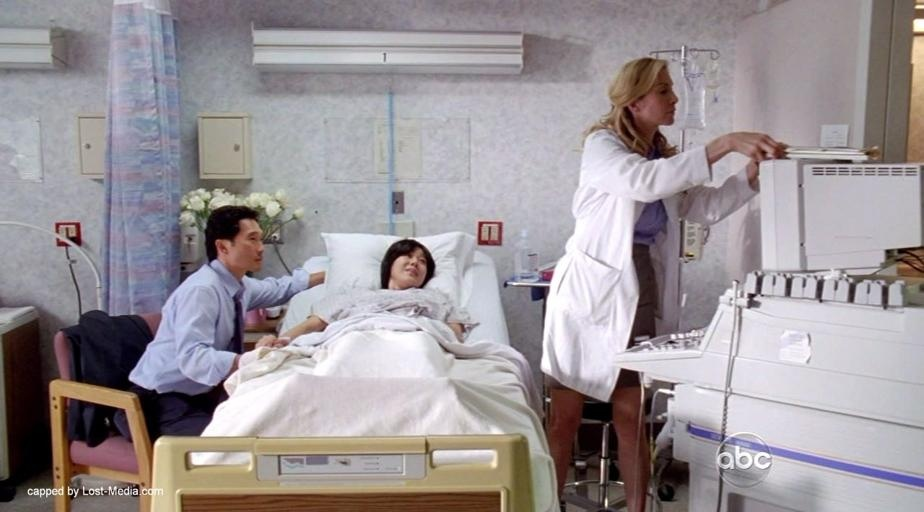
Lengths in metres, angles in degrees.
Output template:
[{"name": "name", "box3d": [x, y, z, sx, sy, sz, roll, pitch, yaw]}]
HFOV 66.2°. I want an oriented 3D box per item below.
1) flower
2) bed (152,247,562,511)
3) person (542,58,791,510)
[{"name": "flower", "box3d": [-1.502, -0.239, 4.859, 0.618, 0.268, 0.478, 2, 4, 2]}, {"name": "bed", "box3d": [-0.571, 0.628, 3.573, 1.389, 0.480, 1.689, 0, 16, 2]}, {"name": "person", "box3d": [0.987, 0.174, 3.838, 1.084, 2.476, 0.632, 0, 7, 5]}]
